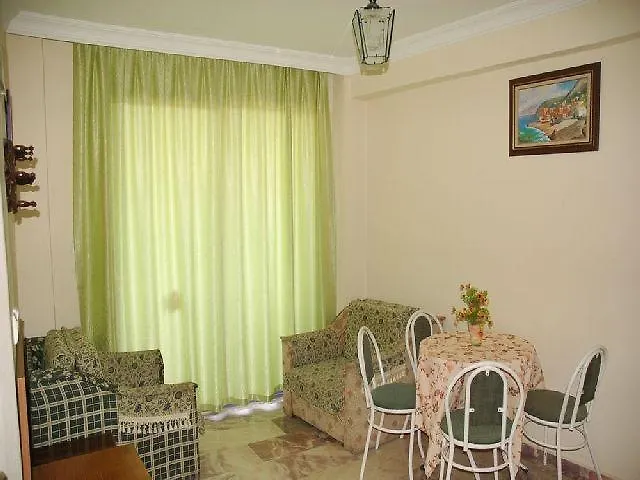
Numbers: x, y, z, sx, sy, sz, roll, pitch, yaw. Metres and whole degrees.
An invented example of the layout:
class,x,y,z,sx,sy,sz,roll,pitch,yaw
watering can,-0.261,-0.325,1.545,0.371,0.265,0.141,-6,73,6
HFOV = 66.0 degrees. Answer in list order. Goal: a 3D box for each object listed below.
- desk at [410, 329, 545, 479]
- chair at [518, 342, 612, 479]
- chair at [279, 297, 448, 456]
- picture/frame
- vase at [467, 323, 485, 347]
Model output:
class,x,y,z,sx,sy,sz,roll,pitch,yaw
desk,1.196,1.231,3.906,0.948,0.944,1.017,0,10,4
chair,1.815,1.296,3.658,0.518,1.192,0.674,2,11,31
chair,0.411,1.196,4.733,1.223,1.272,1.221,2,1,-35
picture/frame,1.867,-1.038,3.864,0.059,0.839,0.754,-1,2,-41
vase,1.233,0.730,3.830,0.153,0.200,0.165,4,-3,-10
